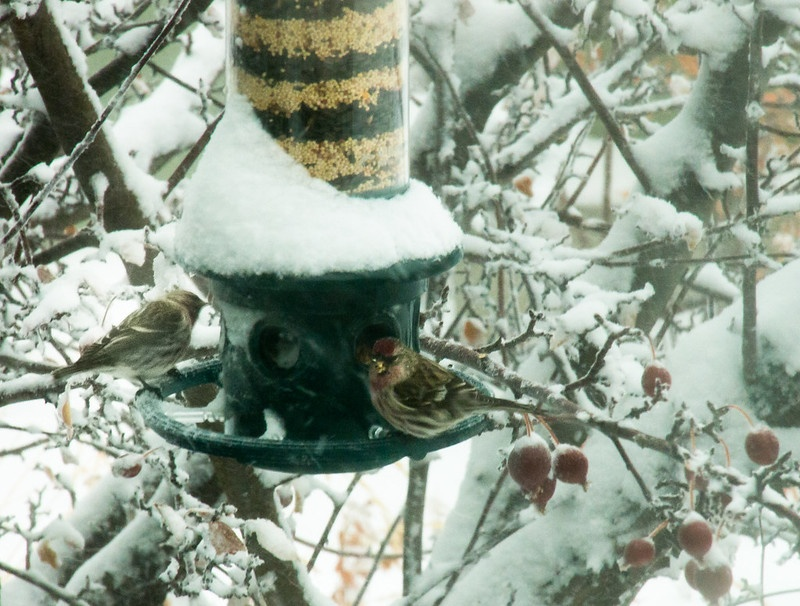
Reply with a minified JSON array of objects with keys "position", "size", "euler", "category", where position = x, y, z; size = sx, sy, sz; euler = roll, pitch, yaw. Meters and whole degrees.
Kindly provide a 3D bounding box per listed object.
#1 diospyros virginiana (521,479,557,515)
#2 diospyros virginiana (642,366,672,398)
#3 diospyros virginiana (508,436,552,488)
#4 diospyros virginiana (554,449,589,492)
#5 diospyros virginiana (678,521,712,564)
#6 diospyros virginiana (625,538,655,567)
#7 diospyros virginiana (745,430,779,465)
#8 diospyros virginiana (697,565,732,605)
[{"position":[0.832,1.113,9.866],"size":[0.136,0.221,0.089],"euler":[2,5,-5],"category":"diospyros virginiana"},{"position":[1.523,0.463,10.139],"size":[0.157,0.256,0.156],"euler":[-8,1,-38],"category":"diospyros virginiana"},{"position":[0.766,0.933,9.878],"size":[0.227,0.397,0.295],"euler":[-5,2,21],"category":"diospyros virginiana"},{"position":[0.977,0.953,9.842],"size":[0.164,0.259,0.173],"euler":[-26,-2,24],"category":"diospyros virginiana"},{"position":[1.732,1.365,9.863],"size":[0.191,0.306,0.228],"euler":[-6,13,17],"category":"diospyros virginiana"},{"position":[1.432,1.495,10.093],"size":[0.185,0.155,0.208],"euler":[-6,-14,8],"category":"diospyros virginiana"},{"position":[2.166,0.840,10.087],"size":[0.166,0.254,0.190],"euler":[-1,8,17],"category":"diospyros virginiana"},{"position":[1.831,1.640,9.796],"size":[0.169,0.239,0.197],"euler":[1,-8,-10],"category":"diospyros virginiana"}]
